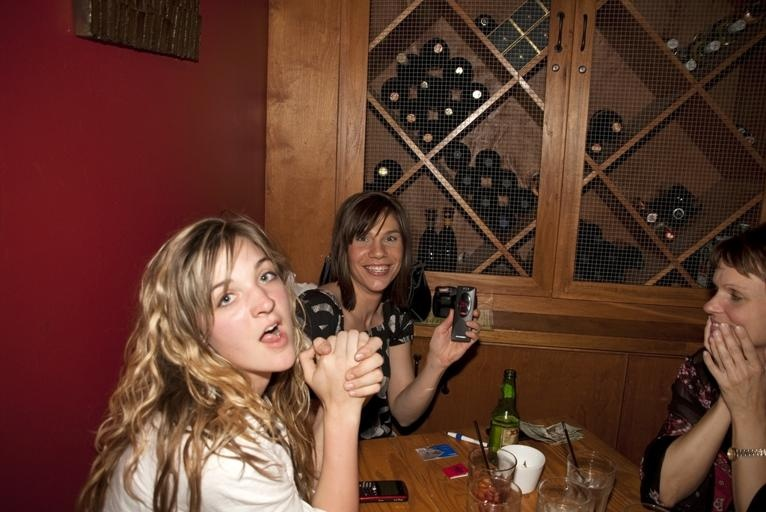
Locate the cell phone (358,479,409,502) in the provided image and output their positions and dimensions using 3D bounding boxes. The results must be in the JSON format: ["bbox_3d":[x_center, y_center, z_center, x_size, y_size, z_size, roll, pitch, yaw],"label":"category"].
[{"bbox_3d":[0.004,0.782,1.914,0.125,0.024,0.068,1,13,-1],"label":"cell phone"}]

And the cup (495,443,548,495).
[{"bbox_3d":[0.498,0.713,1.998,0.144,0.125,0.164,0,8,3],"label":"cup"}]

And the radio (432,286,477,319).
[{"bbox_3d":[0.332,0.210,2.565,0.191,0.182,0.226,-3,-2,4],"label":"radio"}]

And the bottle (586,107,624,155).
[{"bbox_3d":[1.198,-0.677,3.105,0.159,0.241,0.050,1,14,5],"label":"bottle"}]
